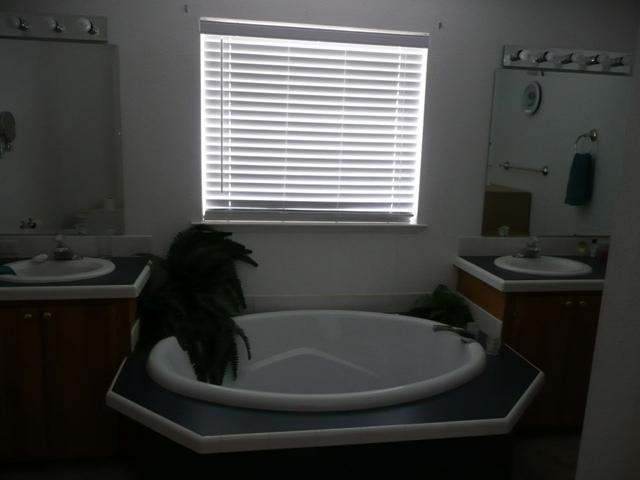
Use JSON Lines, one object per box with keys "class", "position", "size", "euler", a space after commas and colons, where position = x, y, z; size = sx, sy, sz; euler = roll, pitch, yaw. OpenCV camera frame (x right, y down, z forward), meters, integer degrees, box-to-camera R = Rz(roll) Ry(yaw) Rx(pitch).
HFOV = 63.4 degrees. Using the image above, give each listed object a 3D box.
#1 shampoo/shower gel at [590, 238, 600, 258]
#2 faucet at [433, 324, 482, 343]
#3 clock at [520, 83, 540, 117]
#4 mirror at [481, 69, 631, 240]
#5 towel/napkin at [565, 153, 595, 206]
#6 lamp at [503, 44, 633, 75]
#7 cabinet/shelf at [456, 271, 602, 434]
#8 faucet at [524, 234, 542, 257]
{"class": "shampoo/shower gel", "position": [1.860, 0.051, 3.518], "size": [0.048, 0.117, 0.074], "euler": [7, 11, 32]}
{"class": "faucet", "position": [0.780, 0.533, 3.005], "size": [0.291, 0.057, 0.115], "euler": [10, 14, 39]}
{"class": "clock", "position": [1.381, -0.934, 3.400], "size": [0.151, 0.214, 0.019], "euler": [-1, 10, -16]}
{"class": "mirror", "position": [1.445, -0.605, 3.267], "size": [0.949, 1.252, 0.063], "euler": [4, 4, -9]}
{"class": "towel/napkin", "position": [1.755, -0.421, 3.532], "size": [0.139, 0.321, 0.092], "euler": [9, 7, 38]}
{"class": "lamp", "position": [1.582, -1.165, 3.323], "size": [0.853, 0.156, 0.183], "euler": [1, 10, -4]}
{"class": "cabinet/shelf", "position": [1.271, 0.498, 3.324], "size": [1.043, 1.106, 0.733], "euler": [0, 2, -4]}
{"class": "faucet", "position": [1.385, 0.027, 3.402], "size": [0.110, 0.129, 0.123], "euler": [-1, 5, -6]}
